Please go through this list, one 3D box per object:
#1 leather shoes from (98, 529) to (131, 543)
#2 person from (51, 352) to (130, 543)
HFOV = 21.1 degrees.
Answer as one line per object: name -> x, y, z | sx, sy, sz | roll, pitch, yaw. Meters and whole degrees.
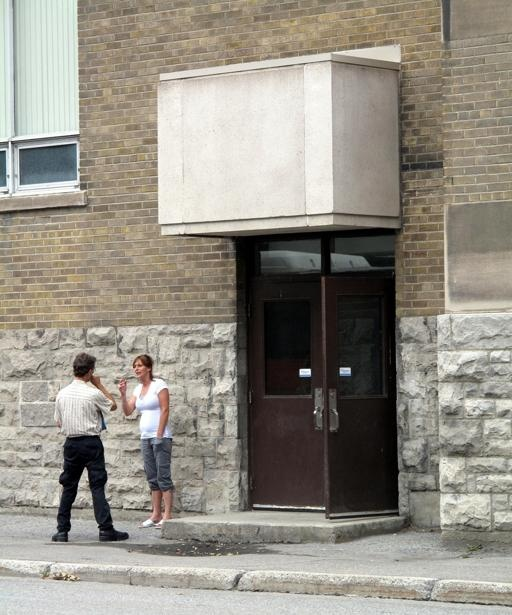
leather shoes -> -1.280, 2.061, 12.496 | 0.293, 0.133, 0.101 | -1, 1, -33
person -> -1.539, 1.265, 12.501 | 0.646, 1.480, 0.329 | -2, 0, -3
